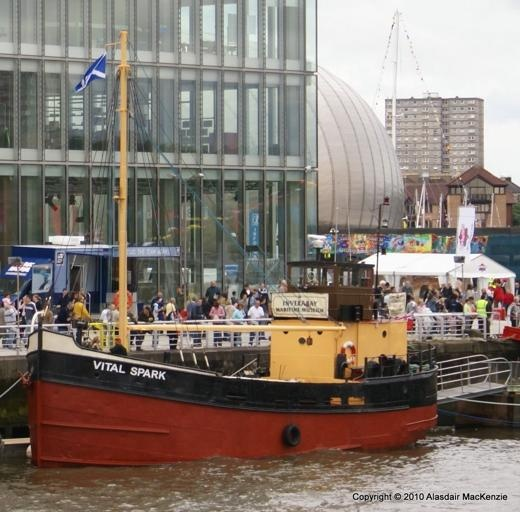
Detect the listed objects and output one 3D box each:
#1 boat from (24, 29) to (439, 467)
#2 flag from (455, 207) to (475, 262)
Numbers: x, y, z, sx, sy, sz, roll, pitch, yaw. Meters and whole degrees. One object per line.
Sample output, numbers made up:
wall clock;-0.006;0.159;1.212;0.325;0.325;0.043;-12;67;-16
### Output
boat;-0.399;-0.861;47.191;12.937;14.091;4.732;2;-7;-33
flag;7.205;-0.859;59.274;0.627;1.316;2.088;-1;0;18
